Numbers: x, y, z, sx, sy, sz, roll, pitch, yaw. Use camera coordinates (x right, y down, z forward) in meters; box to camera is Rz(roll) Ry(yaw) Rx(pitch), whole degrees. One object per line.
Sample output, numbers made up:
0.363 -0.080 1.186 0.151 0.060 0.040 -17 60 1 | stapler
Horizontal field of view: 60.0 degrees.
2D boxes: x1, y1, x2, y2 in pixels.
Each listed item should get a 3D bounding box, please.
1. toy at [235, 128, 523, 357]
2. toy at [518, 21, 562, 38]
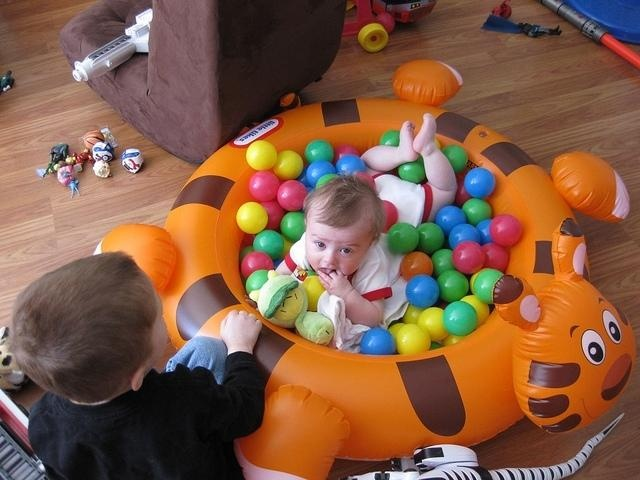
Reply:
0.212 0.012 1.917 0.807 0.323 0.886 35 67 18 | toy
1.172 -1.115 2.986 0.248 0.087 0.090 2 36 -3 | toy
